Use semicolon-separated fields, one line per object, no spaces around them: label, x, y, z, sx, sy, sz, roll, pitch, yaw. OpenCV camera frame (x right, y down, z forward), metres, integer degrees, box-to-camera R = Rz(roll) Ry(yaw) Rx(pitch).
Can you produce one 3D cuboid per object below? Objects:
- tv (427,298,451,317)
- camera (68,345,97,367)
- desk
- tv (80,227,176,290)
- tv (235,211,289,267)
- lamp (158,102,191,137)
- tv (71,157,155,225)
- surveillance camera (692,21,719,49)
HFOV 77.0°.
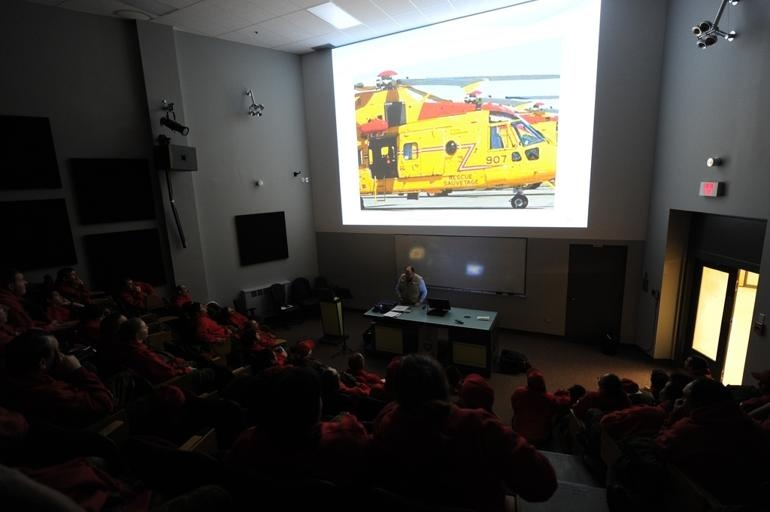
tv;0.977;0.927;8.751;0.389;0.299;0.331;-2;-14;11
camera;-3.961;1.311;6.316;0.276;0.160;0.270;-5;0;17
desk;0.855;1.463;8.781;2.338;0.896;0.832;7;16;21
tv;-4.626;0.014;8.585;1.143;1.019;0.254;-12;10;-44
tv;-2.700;-0.385;10.370;1.167;1.076;0.111;-9;8;-41
lamp;-3.838;-2.521;8.728;0.471;0.626;0.691;-7;12;-23
tv;-4.760;-1.141;8.419;1.253;1.089;0.277;-13;14;-43
surveillance camera;4.512;-3.140;6.789;0.336;0.308;0.227;-11;15;-39
